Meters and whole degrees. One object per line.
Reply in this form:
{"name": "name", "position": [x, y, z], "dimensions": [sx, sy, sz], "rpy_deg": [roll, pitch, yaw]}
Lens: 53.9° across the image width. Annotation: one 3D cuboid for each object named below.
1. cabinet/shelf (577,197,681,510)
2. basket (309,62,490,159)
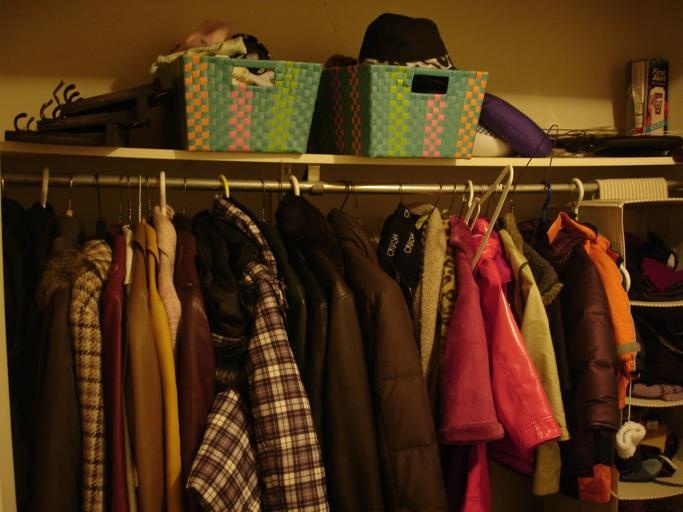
{"name": "cabinet/shelf", "position": [0.982, 0.353, 2.228], "dimensions": [0.315, 1.086, 0.568], "rpy_deg": [1, 3, 41]}
{"name": "basket", "position": [0.177, -0.429, 2.029], "dimensions": [0.357, 0.203, 0.306], "rpy_deg": [0, 5, -17]}
